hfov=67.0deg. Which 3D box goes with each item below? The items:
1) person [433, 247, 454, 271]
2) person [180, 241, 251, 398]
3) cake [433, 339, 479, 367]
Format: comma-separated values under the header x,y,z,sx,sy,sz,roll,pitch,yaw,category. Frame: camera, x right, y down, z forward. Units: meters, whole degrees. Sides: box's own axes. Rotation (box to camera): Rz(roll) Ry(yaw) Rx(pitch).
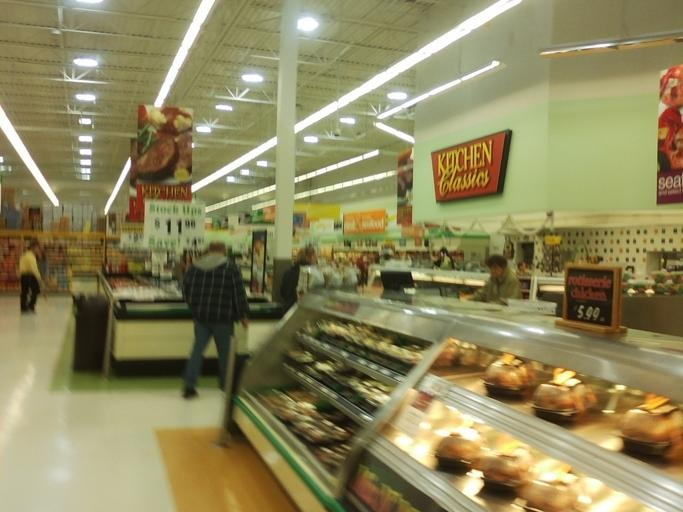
x,y,z,sx,sy,sz,roll,pitch,yaw,category
2.292,0.081,11.474,0.374,0.333,0.947,7,-12,6,person
-1.383,0.730,5.663,0.846,1.762,0.338,1,2,26,person
0.566,0.492,2.529,0.145,0.165,0.041,18,4,27,cake
